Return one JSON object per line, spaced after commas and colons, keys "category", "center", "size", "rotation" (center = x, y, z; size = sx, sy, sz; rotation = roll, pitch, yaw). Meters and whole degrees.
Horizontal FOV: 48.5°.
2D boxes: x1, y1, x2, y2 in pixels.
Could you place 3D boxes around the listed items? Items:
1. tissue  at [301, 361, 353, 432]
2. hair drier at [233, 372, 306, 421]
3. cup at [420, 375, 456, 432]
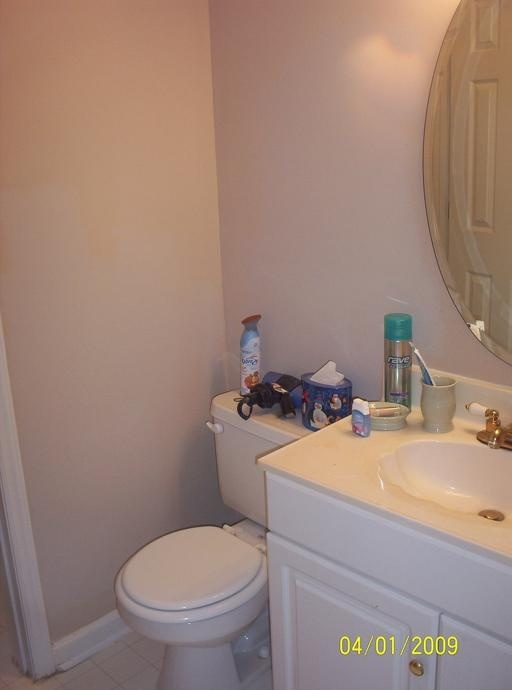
{"category": "tissue ", "center": [0.177, 0.130, 1.390], "size": [0.137, 0.192, 0.101], "rotation": [9, 14, 40]}
{"category": "hair drier", "center": [0.041, 0.120, 1.590], "size": [0.162, 0.123, 0.161], "rotation": [14, 20, 39]}
{"category": "cup", "center": [0.381, 0.123, 1.184], "size": [0.066, 0.104, 0.068], "rotation": [-4, 12, 1]}
